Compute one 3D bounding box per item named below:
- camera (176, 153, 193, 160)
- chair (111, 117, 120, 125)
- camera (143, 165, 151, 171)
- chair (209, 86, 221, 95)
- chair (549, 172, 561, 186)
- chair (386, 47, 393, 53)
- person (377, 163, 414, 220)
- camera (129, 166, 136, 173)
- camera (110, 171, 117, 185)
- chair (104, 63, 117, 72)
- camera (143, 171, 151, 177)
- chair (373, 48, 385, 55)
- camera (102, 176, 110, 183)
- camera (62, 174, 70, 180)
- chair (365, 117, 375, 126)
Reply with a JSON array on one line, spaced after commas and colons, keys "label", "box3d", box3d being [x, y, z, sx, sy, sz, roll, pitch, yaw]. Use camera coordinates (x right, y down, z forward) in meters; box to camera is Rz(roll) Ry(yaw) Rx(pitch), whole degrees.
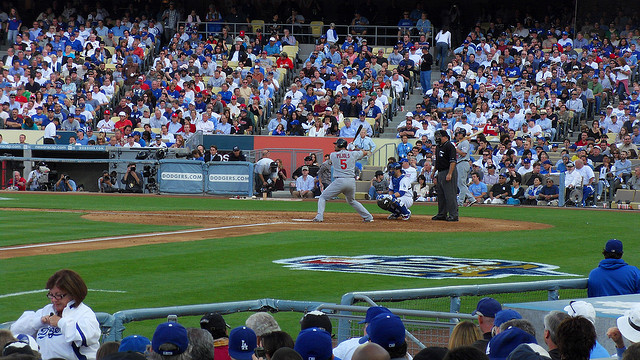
[{"label": "camera", "box3d": [-6.179, -1.106, 45.233, 0.739, 0.252, 0.194, 2, 0, -4]}, {"label": "chair", "box3d": [-9.904, -2.876, 47.964, 0.358, 0.390, 0.358, 1, 3, -15]}, {"label": "camera", "box3d": [-7.842, -0.544, 45.027, 0.363, 0.267, 0.080, -1, 1, -1]}, {"label": "chair", "box3d": [-5.262, -4.431, 49.498, 0.499, 0.514, 0.479, 1, 3, -3]}, {"label": "chair", "box3d": [9.889, -0.042, 41.468, 0.615, 0.483, 0.539, 0, 4, 9]}, {"label": "chair", "box3d": [3.706, -6.862, 52.806, 0.274, 0.296, 0.279, 1, 2, 16]}, {"label": "person", "box3d": [2.890, 0.461, 37.703, 1.215, 2.079, 1.418, 2, 0, 4]}, {"label": "camera", "box3d": [-8.511, -0.458, 44.972, 0.254, 0.267, 0.243, -3, 10, -4]}, {"label": "camera", "box3d": [-9.446, -0.106, 45.310, 0.415, 0.465, 0.169, 5, 0, -3]}, {"label": "chair", "box3d": [-10.900, -5.882, 51.673, 0.641, 0.659, 0.616, 0, 4, -2]}, {"label": "camera", "box3d": [-7.855, -0.239, 45.047, 0.339, 0.236, 0.124, 2, 0, -6]}, {"label": "chair", "box3d": [3.185, -6.824, 52.945, 0.592, 0.608, 0.549, 1, -1, 2]}, {"label": "camera", "box3d": [-9.801, -0.014, 45.217, 0.379, 0.272, 0.215, 2, 0, 25]}, {"label": "camera", "box3d": [-11.653, -0.110, 45.674, 0.160, 0.242, 0.279, 35, 46, 30]}, {"label": "chair", "box3d": [2.361, -2.771, 46.784, 0.397, 0.414, 0.394, 0, -1, 0]}]
